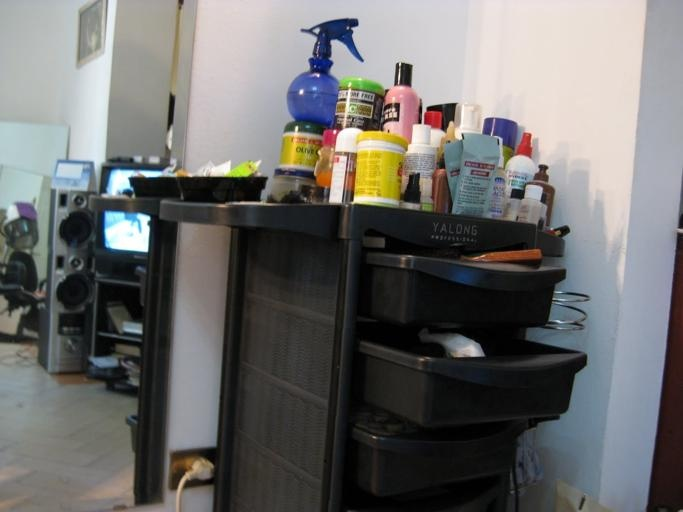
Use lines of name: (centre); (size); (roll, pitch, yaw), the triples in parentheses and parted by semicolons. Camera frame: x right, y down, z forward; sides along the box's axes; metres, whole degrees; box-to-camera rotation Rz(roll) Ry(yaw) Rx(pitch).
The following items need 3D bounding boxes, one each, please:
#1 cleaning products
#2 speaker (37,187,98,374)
cleaning products: (-0.041, -0.451, 1.425); (0.162, 0.250, 0.140); (6, 13, -7)
speaker: (-0.681, 0.067, 1.443); (0.117, 0.460, 0.033); (1, 5, -28)
